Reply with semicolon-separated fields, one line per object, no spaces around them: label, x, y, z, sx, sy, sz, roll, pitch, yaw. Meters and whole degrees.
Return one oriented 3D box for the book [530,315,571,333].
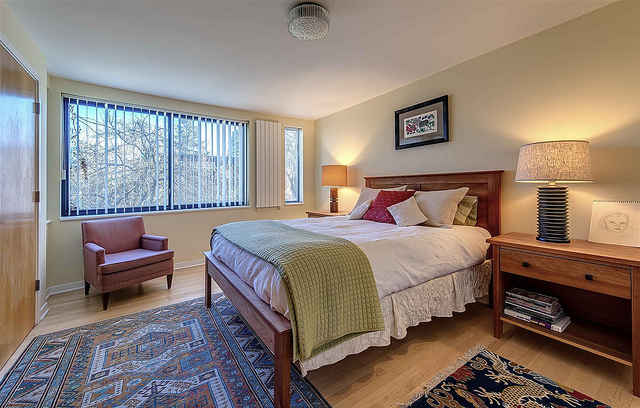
book;2.429;1.244;3.980;0.426;0.111;0.168;-1;11;-2

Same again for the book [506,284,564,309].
book;2.327;1.059;4.204;0.495;0.109;0.482;3;5;-44

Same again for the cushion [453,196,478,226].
cushion;1.825;0.078;4.872;0.379;0.339;0.104;3;6;-18

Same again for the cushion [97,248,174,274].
cushion;-2.494;0.724;5.101;0.902;0.130;0.479;-9;13;-39

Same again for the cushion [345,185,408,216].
cushion;0.863;-0.127;5.854;0.603;0.121;0.614;16;10;15

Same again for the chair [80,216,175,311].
chair;-2.620;0.716;5.200;0.892;0.983;0.896;-9;11;-42

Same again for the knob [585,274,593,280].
knob;2.616;0.712;3.728;0.064;0.055;0.017;-1;-5;34

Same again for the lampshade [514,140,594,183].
lampshade;2.448;-0.429;4.001;0.559;0.283;0.560;-1;-2;30

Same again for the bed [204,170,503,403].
bed;0.392;0.586;4.768;3.176;1.955;2.354;-8;13;-34

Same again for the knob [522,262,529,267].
knob;2.140;0.634;4.000;0.037;0.058;0.065;6;-7;-39

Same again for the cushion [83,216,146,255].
cushion;-2.921;0.395;5.378;0.862;0.544;0.461;2;-5;-44

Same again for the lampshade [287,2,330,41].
lampshade;-0.129;-1.970;4.129;0.460;0.317;0.227;-1;11;-2

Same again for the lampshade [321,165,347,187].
lampshade;0.225;-0.461;6.421;0.400;0.256;0.365;1;-1;-11
